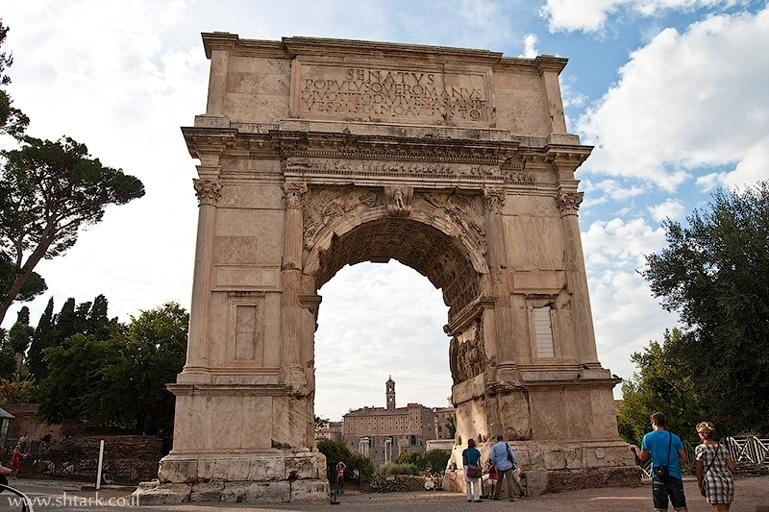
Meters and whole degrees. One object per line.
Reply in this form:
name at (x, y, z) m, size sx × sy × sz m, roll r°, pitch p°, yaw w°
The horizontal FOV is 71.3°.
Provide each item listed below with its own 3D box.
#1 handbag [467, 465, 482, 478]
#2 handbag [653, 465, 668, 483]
handbag at (3.363, 8.140, 20.268) m, size 0.699 × 0.466 × 0.242 m, roll 5°, pitch -15°, yaw -11°
handbag at (7.191, 5.645, 13.927) m, size 0.365 × 0.360 × 0.141 m, roll -9°, pitch -13°, yaw 20°
